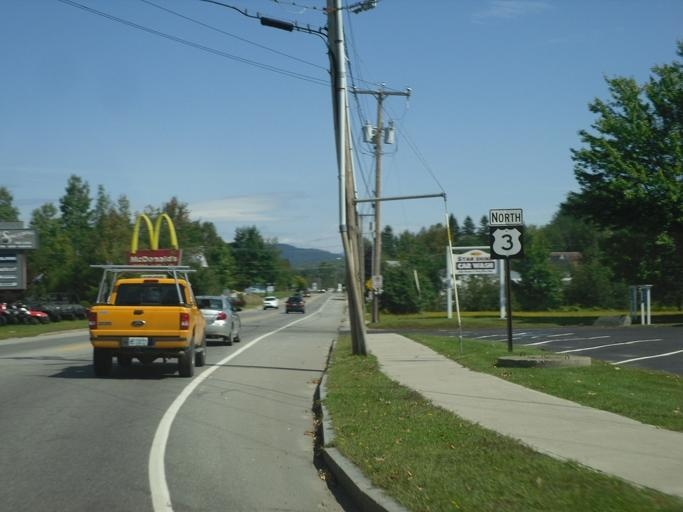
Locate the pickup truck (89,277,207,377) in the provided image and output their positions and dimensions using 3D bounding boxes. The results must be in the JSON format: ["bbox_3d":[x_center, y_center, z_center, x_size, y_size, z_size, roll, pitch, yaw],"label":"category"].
[{"bbox_3d":[-4.705,1.569,18.373,2.799,2.058,4.439,2,-4,-1],"label":"pickup truck"}]

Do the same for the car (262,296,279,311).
[{"bbox_3d":[-7.838,5.135,81.765,1.386,0.799,2.565,-1,-7,2],"label":"car"}]
